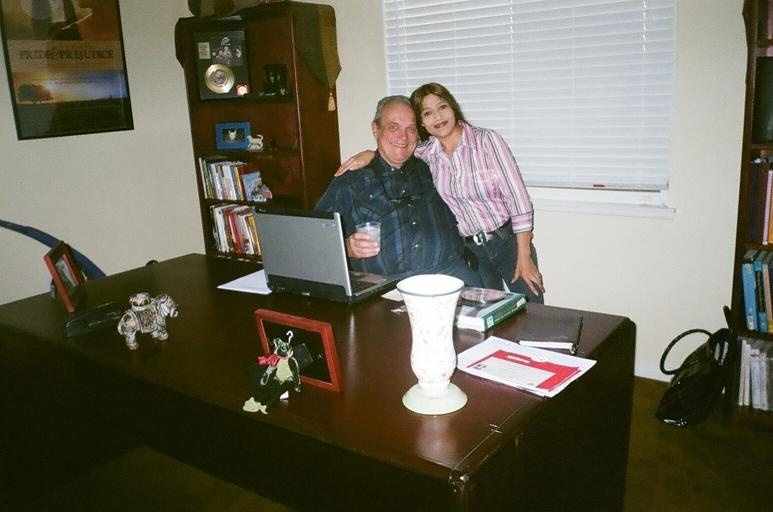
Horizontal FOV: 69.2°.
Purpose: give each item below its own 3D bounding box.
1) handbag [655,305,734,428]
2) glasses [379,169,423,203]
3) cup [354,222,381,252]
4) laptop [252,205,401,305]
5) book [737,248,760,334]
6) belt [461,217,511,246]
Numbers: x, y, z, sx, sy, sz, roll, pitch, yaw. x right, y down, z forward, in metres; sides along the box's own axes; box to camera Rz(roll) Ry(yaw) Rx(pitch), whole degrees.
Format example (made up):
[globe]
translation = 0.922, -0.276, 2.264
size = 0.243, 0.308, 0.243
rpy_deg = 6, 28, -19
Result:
[handbag]
translation = 1.777, 0.613, 3.215
size = 0.497, 0.624, 0.335
rpy_deg = -12, 18, -31
[glasses]
translation = 0.081, -0.416, 3.324
size = 0.203, 0.207, 0.067
rpy_deg = 0, -6, -6
[cup]
translation = -0.068, -0.094, 2.634
size = 0.129, 0.142, 0.129
rpy_deg = -6, 13, 1
[laptop]
translation = -0.271, -0.045, 2.674
size = 0.509, 0.490, 0.404
rpy_deg = 5, 25, 29
[book]
translation = 1.976, 0.205, 3.038
size = 0.075, 0.311, 0.323
rpy_deg = -3, 21, 25
[belt]
translation = 0.600, -0.127, 3.367
size = 0.162, 0.048, 0.169
rpy_deg = -19, -3, -36
